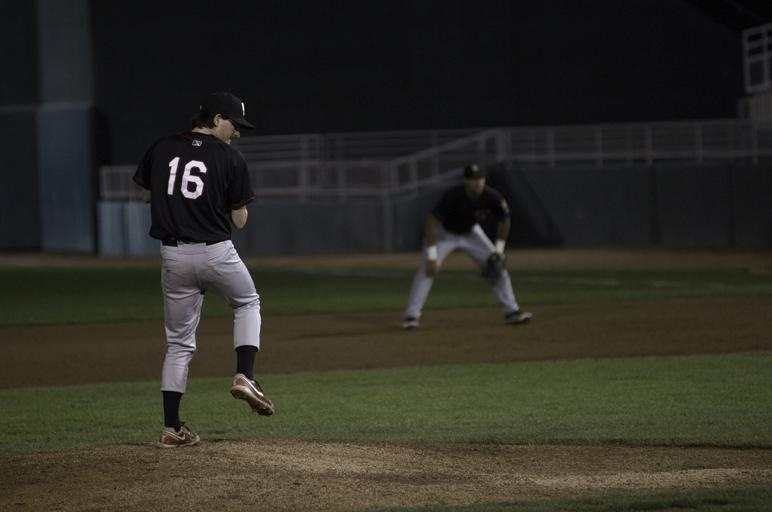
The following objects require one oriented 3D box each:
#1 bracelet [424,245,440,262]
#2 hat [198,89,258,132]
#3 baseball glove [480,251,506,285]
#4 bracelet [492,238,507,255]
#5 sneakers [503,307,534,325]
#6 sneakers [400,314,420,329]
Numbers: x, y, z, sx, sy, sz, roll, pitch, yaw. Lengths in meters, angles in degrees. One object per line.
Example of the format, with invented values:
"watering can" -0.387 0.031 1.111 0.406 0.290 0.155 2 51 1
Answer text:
"bracelet" 0.756 -0.065 21.776 0.238 0.212 0.233 -2 0 12
"hat" -2.203 -2.118 19.564 0.766 0.384 0.520 0 6 18
"baseball glove" 1.737 0.184 21.821 0.371 0.510 0.242 1 3 7
"bracelet" 1.835 -0.166 21.830 0.060 0.215 0.240 2 -5 31
"sneakers" 2.227 0.944 22.044 0.552 0.226 0.250 -10 -27 10
"sneakers" 0.388 1.041 21.944 0.226 0.078 0.220 -18 -38 19
